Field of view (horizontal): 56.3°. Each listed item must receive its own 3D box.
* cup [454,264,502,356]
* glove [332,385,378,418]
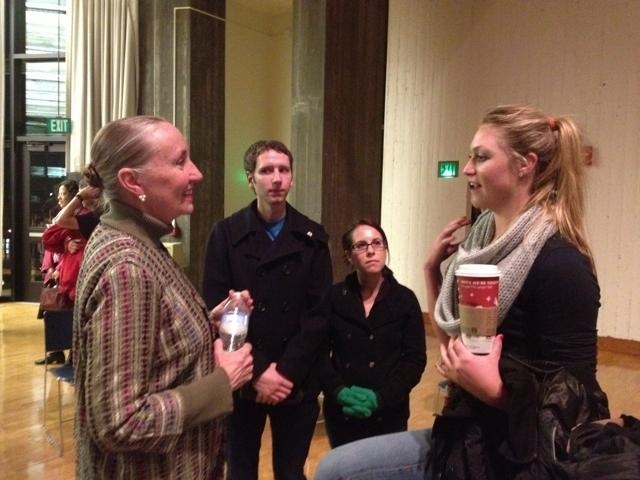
[{"bbox_3d":[0.583,0.253,2.412,0.263,0.421,0.272,0,2,0],"label":"cup"},{"bbox_3d":[0.180,0.824,3.114,0.179,0.075,0.145,17,55,27],"label":"glove"}]
